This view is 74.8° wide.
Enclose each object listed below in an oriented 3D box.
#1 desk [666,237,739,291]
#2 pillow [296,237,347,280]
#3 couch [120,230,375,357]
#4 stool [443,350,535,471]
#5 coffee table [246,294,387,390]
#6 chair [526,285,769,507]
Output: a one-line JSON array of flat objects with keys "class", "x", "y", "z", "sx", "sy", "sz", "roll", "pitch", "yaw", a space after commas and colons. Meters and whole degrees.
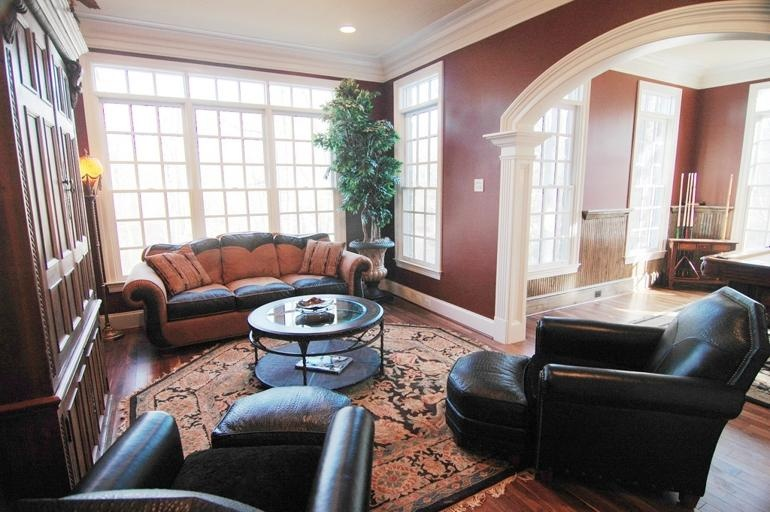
[{"class": "desk", "x": 4.134, "y": 0.081, "z": 6.512, "sx": 0.887, "sy": 0.699, "sz": 0.351, "roll": 2, "pitch": 3, "yaw": 43}, {"class": "pillow", "x": -0.754, "y": 0.009, "z": 5.908, "sx": 0.509, "sy": 0.405, "sz": 0.127, "roll": 4, "pitch": -21, "yaw": 23}, {"class": "couch", "x": -1.510, "y": 0.262, "z": 5.703, "sx": 2.607, "sy": 0.899, "sz": 0.946, "roll": -5, "pitch": 21, "yaw": -26}, {"class": "stool", "x": 0.790, "y": 1.100, "z": 3.887, "sx": 0.632, "sy": 0.438, "sz": 0.739, "roll": 3, "pitch": 13, "yaw": -1}, {"class": "coffee table", "x": -0.663, "y": 0.785, "z": 4.579, "sx": 1.194, "sy": 0.517, "sz": 1.101, "roll": -10, "pitch": 6, "yaw": -27}, {"class": "chair", "x": 1.783, "y": 0.901, "z": 4.087, "sx": 1.795, "sy": 1.716, "sz": 1.437, "roll": 2, "pitch": 10, "yaw": 21}]
